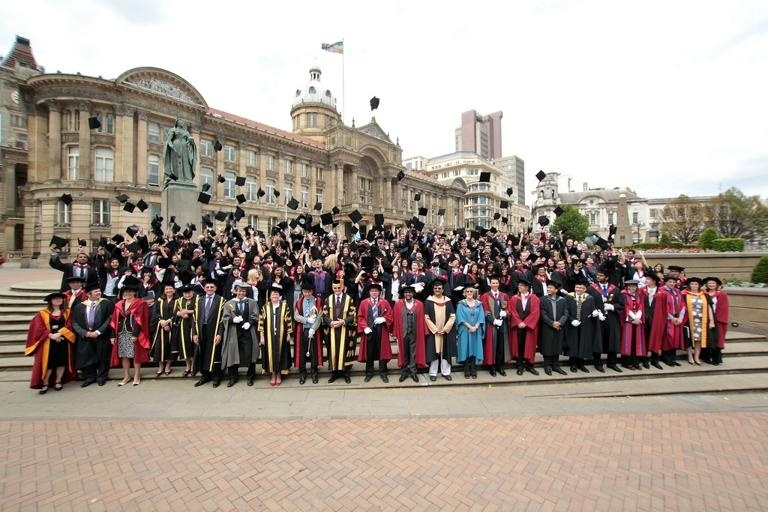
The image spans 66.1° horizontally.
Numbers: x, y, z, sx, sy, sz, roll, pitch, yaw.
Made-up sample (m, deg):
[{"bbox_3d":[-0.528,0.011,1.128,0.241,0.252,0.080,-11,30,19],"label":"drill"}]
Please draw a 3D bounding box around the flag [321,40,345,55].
[{"bbox_3d":[-4.627,-19.404,54.798,1.663,1.430,3.706,-1,11,2],"label":"flag"}]

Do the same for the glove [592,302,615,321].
[{"bbox_3d":[7.711,1.907,20.911,0.246,0.704,0.525,49,14,27],"label":"glove"}]

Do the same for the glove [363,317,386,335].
[{"bbox_3d":[-0.303,2.370,20.403,0.807,0.445,0.219,-39,15,-14],"label":"glove"}]

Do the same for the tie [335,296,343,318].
[{"bbox_3d":[-1.542,1.755,20.481,0.178,0.674,0.300,-1,11,1],"label":"tie"}]

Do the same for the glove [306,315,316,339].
[{"bbox_3d":[-2.430,2.457,20.315,0.292,0.732,0.524,-1,11,-1],"label":"glove"}]

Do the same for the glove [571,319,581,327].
[{"bbox_3d":[6.774,2.354,20.823,0.302,0.241,0.171,-7,13,-26],"label":"glove"}]

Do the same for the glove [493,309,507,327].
[{"bbox_3d":[4.101,2.173,20.659,0.370,0.580,0.226,36,-16,-17],"label":"glove"}]

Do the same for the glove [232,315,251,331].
[{"bbox_3d":[-4.816,2.281,20.146,0.528,0.394,0.243,46,-24,-22],"label":"glove"}]
